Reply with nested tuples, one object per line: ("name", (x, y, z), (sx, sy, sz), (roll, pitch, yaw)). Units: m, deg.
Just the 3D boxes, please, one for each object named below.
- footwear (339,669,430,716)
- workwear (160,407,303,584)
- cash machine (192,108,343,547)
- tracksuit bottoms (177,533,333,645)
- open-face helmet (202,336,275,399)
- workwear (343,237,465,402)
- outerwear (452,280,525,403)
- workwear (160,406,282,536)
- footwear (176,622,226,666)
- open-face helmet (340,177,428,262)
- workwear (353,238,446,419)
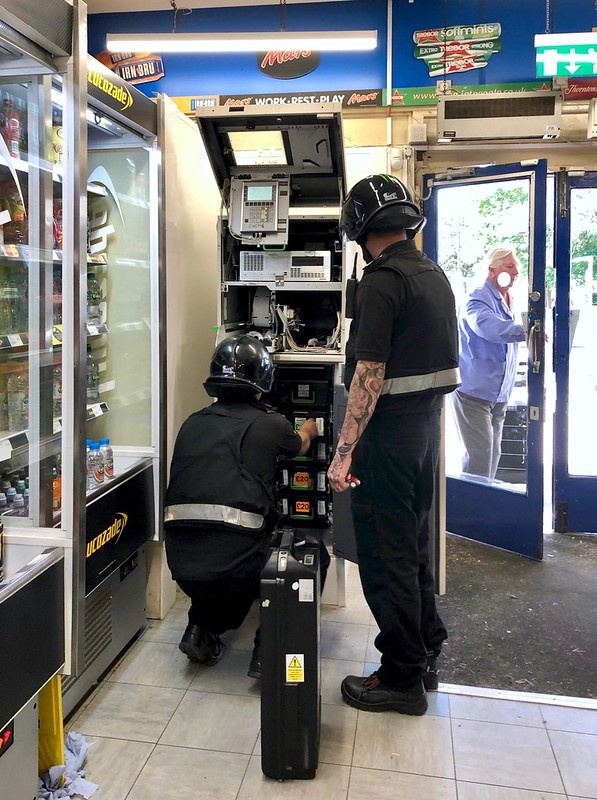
("footwear", (0.266, 0.909, 2.072), (0.258, 0.138, 0.113), (7, 5, 14))
("workwear", (-0.198, 0.288, 2.261), (0.369, 0.649, 0.534), (3, 3, 16))
("cash machine", (-0.055, -0.262, 2.790), (0.524, 1.827, 0.509), (-1, 12, 8))
("tracksuit bottoms", (-0.176, 0.628, 2.191), (0.416, 0.174, 0.360), (-4, 6, -26))
("open-face helmet", (-0.202, -0.122, 2.358), (0.164, 0.200, 0.236), (4, 17, 10))
("workwear", (0.347, -0.235, 2.038), (0.469, 0.456, 0.284), (-9, 6, -43))
("outerwear", (1.098, -0.328, 3.724), (0.356, 0.697, 0.713), (2, 12, 21))
("workwear", (-0.279, 0.240, 2.208), (0.340, 0.468, 0.251), (-7, -25, 19))
("footwear", (-0.330, 0.825, 2.288), (0.085, 0.233, 0.110), (1, 51, 17))
("open-face helmet", (0.260, -0.553, 1.989), (0.160, 0.241, 0.231), (-3, 12, -18))
("workwear", (0.357, -0.211, 2.045), (0.467, 0.454, 0.281), (-3, 1, -41))
